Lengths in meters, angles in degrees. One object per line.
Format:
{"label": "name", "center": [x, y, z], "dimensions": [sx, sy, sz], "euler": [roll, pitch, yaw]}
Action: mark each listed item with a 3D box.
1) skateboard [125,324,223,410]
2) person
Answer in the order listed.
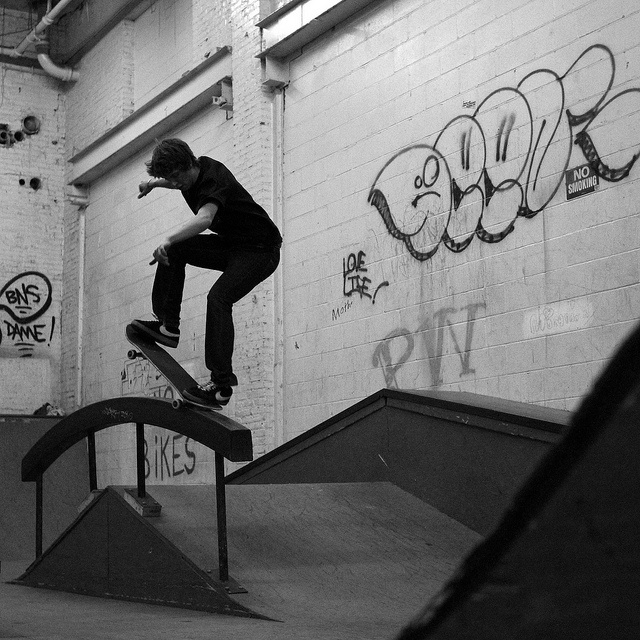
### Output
{"label": "skateboard", "center": [-0.704, 0.201, 4.129], "dimensions": [0.228, 0.407, 0.630], "euler": [-6, 7, -36]}
{"label": "person", "center": [-0.614, -0.306, 4.369], "dimensions": [0.667, 1.306, 0.774], "euler": [-7, 16, -32]}
